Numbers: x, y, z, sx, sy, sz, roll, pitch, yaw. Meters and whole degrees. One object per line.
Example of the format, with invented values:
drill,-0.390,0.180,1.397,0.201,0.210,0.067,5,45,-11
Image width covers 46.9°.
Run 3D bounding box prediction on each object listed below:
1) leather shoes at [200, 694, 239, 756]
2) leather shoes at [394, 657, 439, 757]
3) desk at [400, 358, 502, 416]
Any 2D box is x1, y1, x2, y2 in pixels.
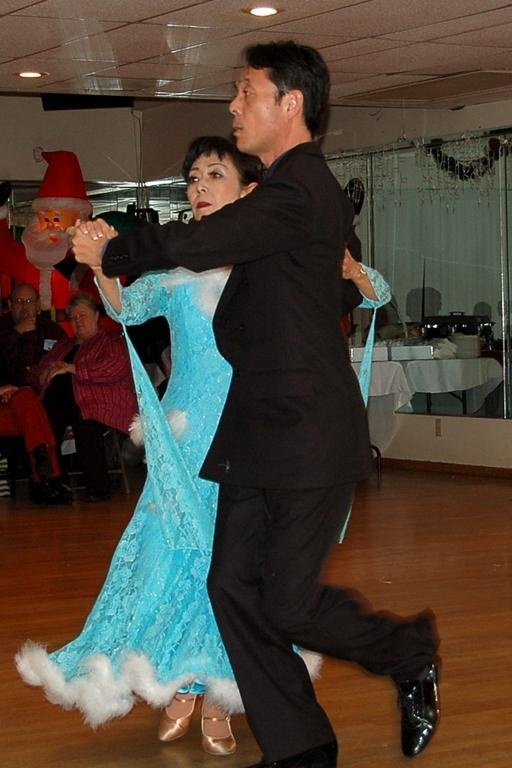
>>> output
leather shoes,-0.086,0.741,1.306,0.054,0.064,0.154,-1,7,-17
leather shoes,0.340,0.687,1.270,0.070,0.202,0.085,-3,-7,36
desk,2.230,-0.140,6.438,0.857,0.598,0.567,9,-28,15
